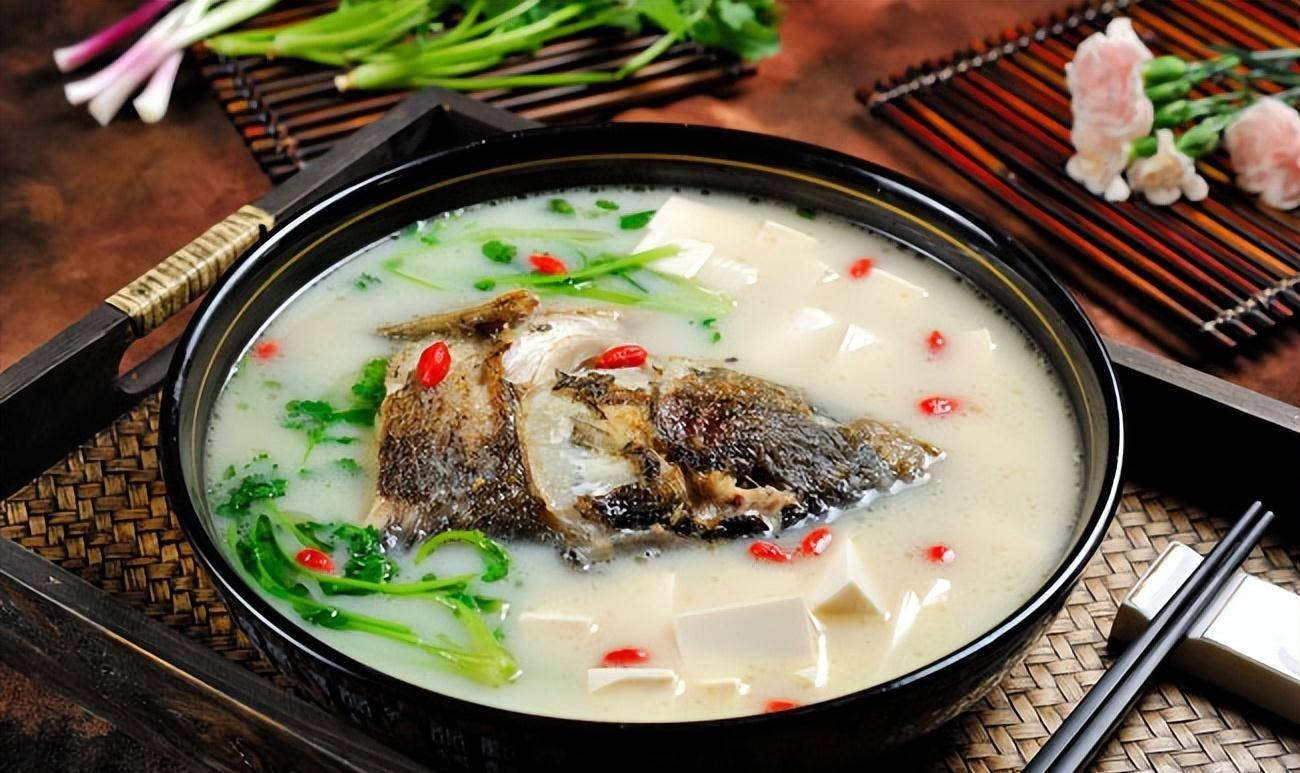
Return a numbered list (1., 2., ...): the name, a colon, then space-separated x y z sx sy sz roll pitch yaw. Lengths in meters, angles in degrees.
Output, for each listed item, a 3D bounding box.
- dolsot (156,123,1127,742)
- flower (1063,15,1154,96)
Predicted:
1. dolsot: -0.040 0.157 2.841 1.760 1.156 0.646 -9 31 -18
2. flower: 1.791 -1.308 4.162 0.332 0.332 0.092 23 0 1
